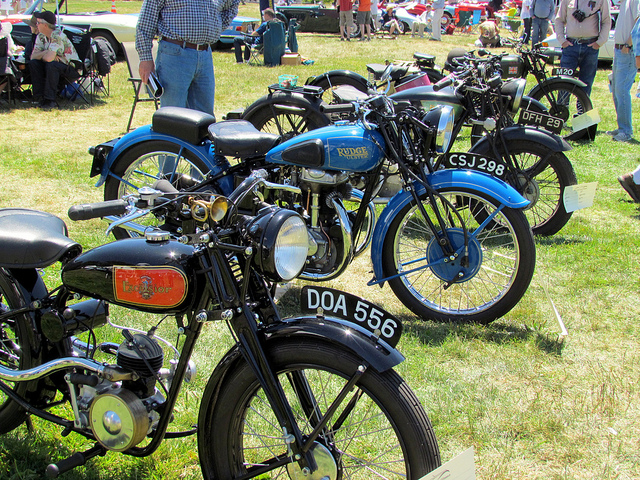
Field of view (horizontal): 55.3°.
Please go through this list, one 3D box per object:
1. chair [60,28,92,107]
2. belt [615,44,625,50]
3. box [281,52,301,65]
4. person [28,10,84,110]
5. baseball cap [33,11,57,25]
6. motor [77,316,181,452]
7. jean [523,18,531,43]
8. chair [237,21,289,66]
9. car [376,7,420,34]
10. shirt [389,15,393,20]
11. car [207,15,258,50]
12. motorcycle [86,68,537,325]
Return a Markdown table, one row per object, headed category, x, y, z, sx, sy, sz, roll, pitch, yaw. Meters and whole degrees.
| category | x | y | z | sx | sy | sz | roll | pitch | yaw |
| --- | --- | --- | --- | --- | --- | --- | --- | --- | --- |
| chair | -4.055 | -2.905 | 10.309 | 0.596 | 1.109 | 0.771 | -1 | 27 | -5 |
| belt | 4.352 | -2.827 | 8.874 | 0.075 | 0.058 | 0.081 | -3 | 28 | 9 |
| box | -0.697 | -4.361 | 14.682 | 0.489 | 0.241 | 0.322 | 1 | 21 | -9 |
| person | -4.473 | -3.047 | 10.299 | 0.572 | 1.573 | 0.865 | 11 | 18 | 29 |
| baseball cap | -4.468 | -3.661 | 9.928 | 0.285 | 0.143 | 0.197 | 16 | 34 | -28 |
| motor | -1.005 | 0.695 | 3.118 | 0.388 | 0.733 | 0.312 | 16 | 10 | 7 |
| jean | 6.169 | -6.261 | 18.173 | 0.206 | 0.687 | 1.078 | 9 | 21 | 16 |
| chair | -1.373 | -4.814 | 14.857 | 1.046 | 1.228 | 1.064 | -3 | 31 | -19 |
| car | 2.894 | -8.138 | 22.297 | 1.578 | 0.884 | 0.942 | 19 | 26 | 39 |
| shirt | 2.623 | -8.237 | 22.561 | 0.090 | 0.114 | 0.212 | -1 | 21 | -13 |
| car | -2.271 | -5.841 | 16.695 | 0.963 | 0.802 | 1.705 | -34 | 27 | -31 |
| motorcycle | -0.115 | -0.441 | 4.865 | 3.525 | 1.943 | 1.413 | 11 | 34 | 13 |
